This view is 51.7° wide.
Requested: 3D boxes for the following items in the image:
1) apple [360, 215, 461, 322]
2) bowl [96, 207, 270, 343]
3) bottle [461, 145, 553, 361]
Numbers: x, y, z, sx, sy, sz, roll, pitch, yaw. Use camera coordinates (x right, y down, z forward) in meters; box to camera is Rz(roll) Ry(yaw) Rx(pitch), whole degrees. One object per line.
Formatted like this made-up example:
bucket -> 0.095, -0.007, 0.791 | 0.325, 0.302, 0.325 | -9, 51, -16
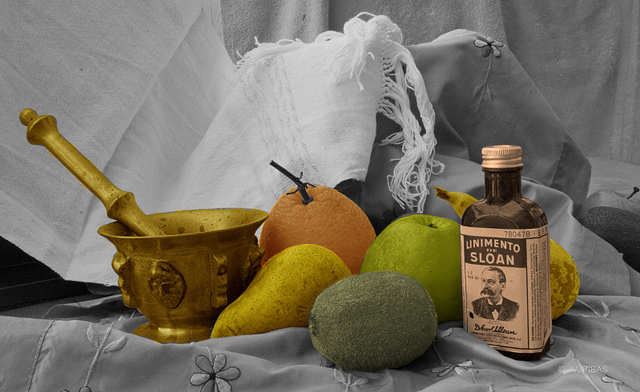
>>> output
apple -> 0.150, 0.123, 1.132 | 0.157, 0.142, 0.157 | 2, -6, -4
bowl -> -0.232, 0.144, 1.155 | 0.282, 0.190, 0.264 | -3, 5, 0
bottle -> 0.286, 0.089, 1.006 | 0.140, 0.294, 0.146 | -3, 31, 2
